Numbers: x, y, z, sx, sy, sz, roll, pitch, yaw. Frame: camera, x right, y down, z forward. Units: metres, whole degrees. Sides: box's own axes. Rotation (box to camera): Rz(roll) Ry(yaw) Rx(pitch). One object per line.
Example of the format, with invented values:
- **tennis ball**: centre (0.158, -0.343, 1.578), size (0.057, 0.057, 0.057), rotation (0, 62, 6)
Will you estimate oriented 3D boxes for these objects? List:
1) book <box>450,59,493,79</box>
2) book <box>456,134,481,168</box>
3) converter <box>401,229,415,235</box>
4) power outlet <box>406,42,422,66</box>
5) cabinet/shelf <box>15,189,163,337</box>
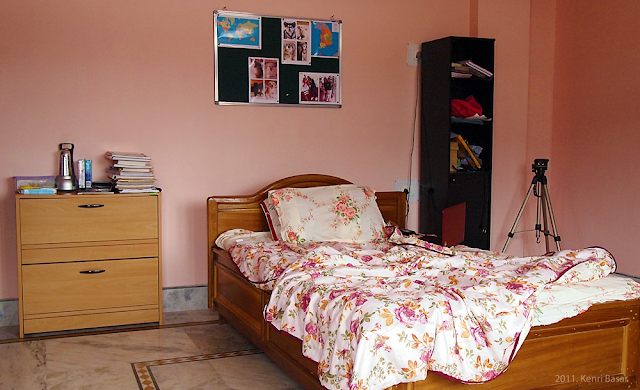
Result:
- **book**: centre (1.554, -1.282, 4.776), size (0.472, 0.166, 0.073), rotation (-2, 14, -16)
- **book**: centre (1.559, -0.435, 4.845), size (0.081, 0.333, 0.328), rotation (-38, -16, 7)
- **converter**: centre (0.856, 0.356, 4.449), size (0.070, 0.027, 0.073), rotation (-1, 6, -40)
- **power outlet**: centre (0.998, -1.509, 4.950), size (0.228, 0.215, 0.055), rotation (2, 5, -18)
- **cabinet/shelf**: centre (-1.892, 0.622, 4.321), size (1.405, 1.137, 0.813), rotation (-3, -7, 2)
